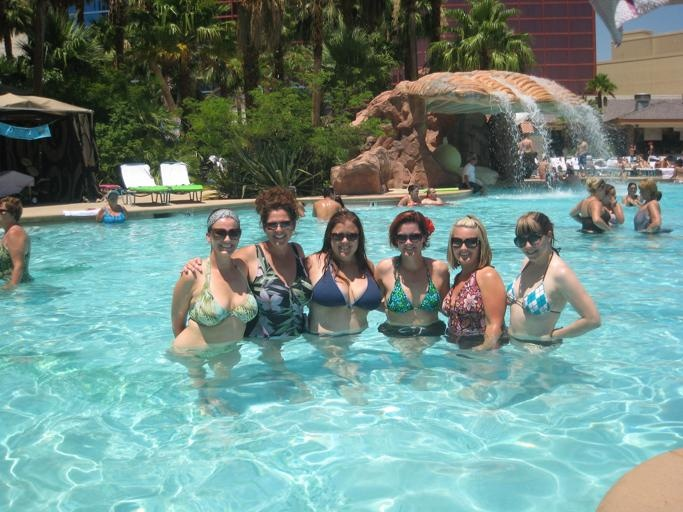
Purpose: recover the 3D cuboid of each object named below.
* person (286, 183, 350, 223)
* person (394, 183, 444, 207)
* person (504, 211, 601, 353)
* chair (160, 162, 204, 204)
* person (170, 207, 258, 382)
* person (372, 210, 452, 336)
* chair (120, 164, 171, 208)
[{"bbox_3d":[-0.344,-1.089,13.772,1.060,0.623,1.340,1,-5,0],"label":"person"},{"bbox_3d":[1.992,-1.508,16.169,0.967,0.464,0.672,-1,10,14],"label":"person"},{"bbox_3d":[1.733,0.212,5.455,0.522,1.145,1.322,5,2,-11],"label":"person"},{"bbox_3d":[-4.749,-2.068,17.592,1.633,1.180,1.070,-5,9,-16],"label":"chair"},{"bbox_3d":[-1.097,0.324,5.263,0.708,1.370,0.369,-3,12,-9],"label":"person"},{"bbox_3d":[0.631,0.238,5.771,0.674,1.309,0.534,-1,14,14],"label":"person"},{"bbox_3d":[-6.004,-2.085,18.658,0.923,1.115,1.654,-3,2,-4],"label":"chair"}]
